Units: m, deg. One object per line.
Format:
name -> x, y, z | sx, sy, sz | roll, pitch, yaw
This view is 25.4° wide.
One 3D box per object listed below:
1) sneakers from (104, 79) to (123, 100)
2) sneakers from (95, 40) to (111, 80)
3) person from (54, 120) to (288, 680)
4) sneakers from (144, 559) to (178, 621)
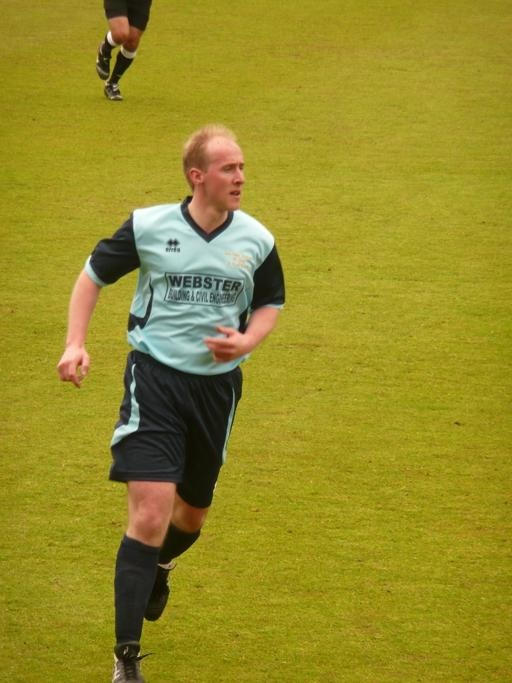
sneakers -> -0.917, -1.594, 7.232 | 0.068, 0.065, 0.176 | -8, 29, -22
sneakers -> -1.005, -1.837, 7.408 | 0.087, 0.241, 0.122 | -10, 11, -34
person -> -0.395, 0.158, 3.684 | 0.622, 1.611, 0.912 | 18, 27, 17
sneakers -> -0.337, 0.854, 3.904 | 0.078, 0.142, 0.211 | 15, 26, -4
